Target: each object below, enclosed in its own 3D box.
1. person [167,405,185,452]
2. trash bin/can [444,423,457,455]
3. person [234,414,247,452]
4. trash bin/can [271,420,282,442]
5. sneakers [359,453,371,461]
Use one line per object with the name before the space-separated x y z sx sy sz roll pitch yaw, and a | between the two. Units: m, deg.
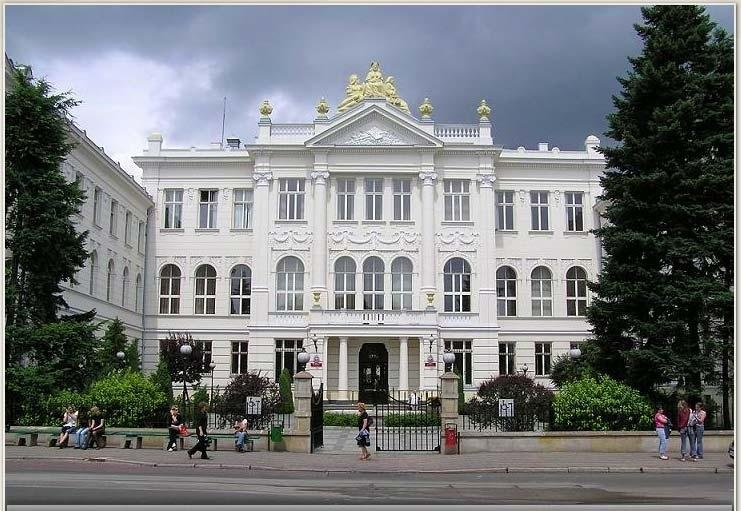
person | -7.778 6.984 37.122 0.610 1.802 0.944 5 -15 -12
trash bin/can | 3.275 7.492 37.637 0.620 1.243 0.376 1 -15 3
person | -5.263 7.397 37.656 0.482 1.216 0.605 3 -15 -7
trash bin/can | -3.818 7.339 37.872 0.516 0.706 0.441 4 -15 -9
sneakers | -0.215 8.018 36.500 0.208 0.233 0.579 -4 -26 10
